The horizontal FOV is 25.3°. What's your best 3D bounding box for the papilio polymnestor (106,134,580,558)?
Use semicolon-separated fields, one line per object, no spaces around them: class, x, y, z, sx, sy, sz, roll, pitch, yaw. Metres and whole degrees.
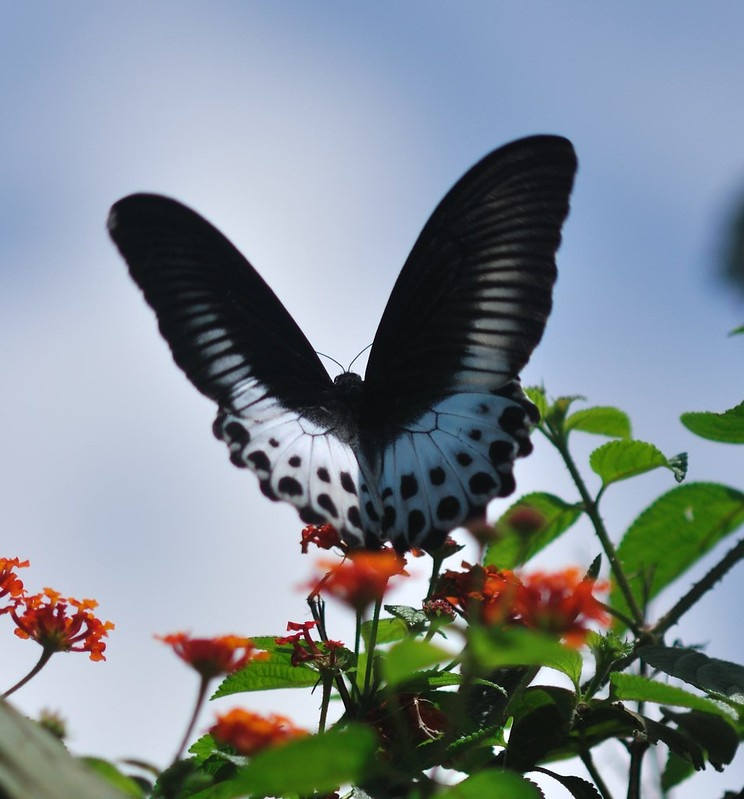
papilio polymnestor;0.026;-0.061;2.864;0.790;0.590;0.073;-8;-14;4

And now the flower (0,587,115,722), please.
flower;-0.502;0.376;2.674;0.166;0.141;0.059;9;-53;-10
